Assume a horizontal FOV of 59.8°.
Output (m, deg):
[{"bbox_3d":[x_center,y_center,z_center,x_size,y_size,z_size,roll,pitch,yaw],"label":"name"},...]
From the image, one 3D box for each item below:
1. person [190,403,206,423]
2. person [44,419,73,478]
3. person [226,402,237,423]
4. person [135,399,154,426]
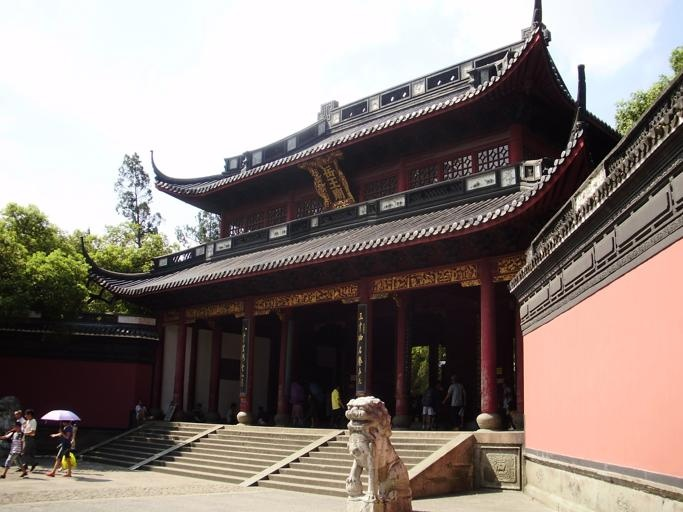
[{"bbox_3d":[-4.775,5.181,19.802,0.424,0.680,0.916,3,-20,-14],"label":"person"},{"bbox_3d":[-6.499,4.476,13.815,0.493,1.200,1.263,7,-21,-24],"label":"person"},{"bbox_3d":[-3.623,5.124,19.527,0.274,0.829,1.662,2,-20,-11],"label":"person"},{"bbox_3d":[-6.543,5.125,19.501,0.497,0.835,0.510,-19,-25,41],"label":"person"}]
